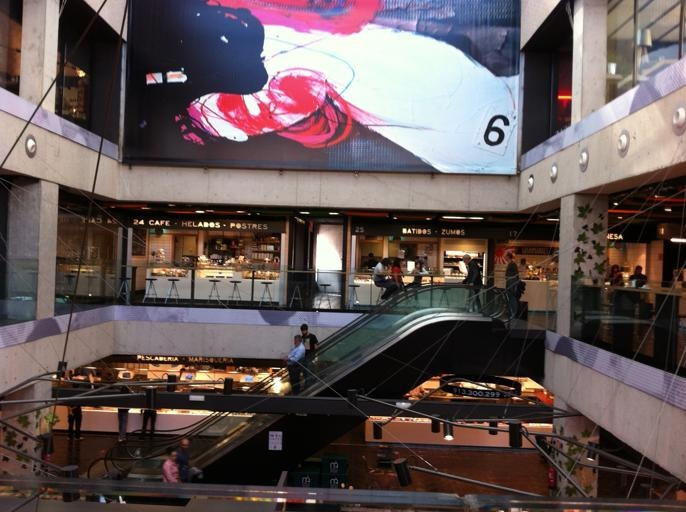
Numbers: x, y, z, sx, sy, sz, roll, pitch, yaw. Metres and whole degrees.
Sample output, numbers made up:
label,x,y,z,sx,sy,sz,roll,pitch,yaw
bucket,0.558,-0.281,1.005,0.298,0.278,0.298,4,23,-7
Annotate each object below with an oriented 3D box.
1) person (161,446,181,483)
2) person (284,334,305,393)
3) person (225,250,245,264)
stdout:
label,x,y,z,sx,sy,sz,roll,pitch,yaw
person,-3.480,4.223,15.697,0.375,0.551,0.778,1,0,-12
person,-1.098,2.444,17.637,0.469,1.539,0.543,8,-24,-7
person,-3.493,0.023,25.255,0.556,0.304,1.019,1,0,-25
